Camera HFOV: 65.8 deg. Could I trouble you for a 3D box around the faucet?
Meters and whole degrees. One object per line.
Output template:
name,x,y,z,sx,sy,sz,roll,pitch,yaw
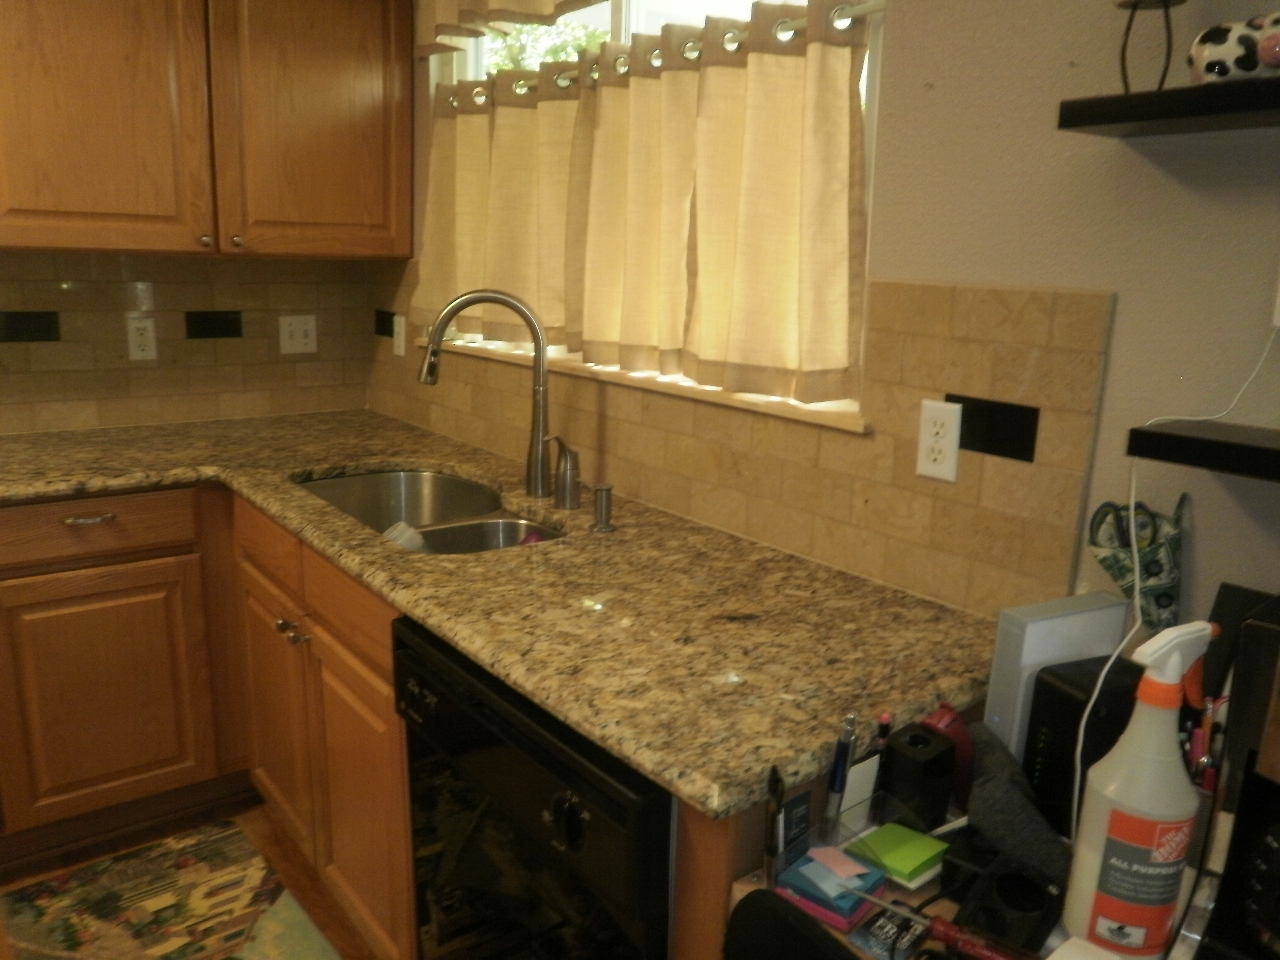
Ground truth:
faucet,-0.368,-0.202,2.356,0.309,0.491,0.236,-5,15,-15

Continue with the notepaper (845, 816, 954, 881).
notepaper,0.354,0.514,1.360,0.132,0.042,0.087,-11,16,-35
